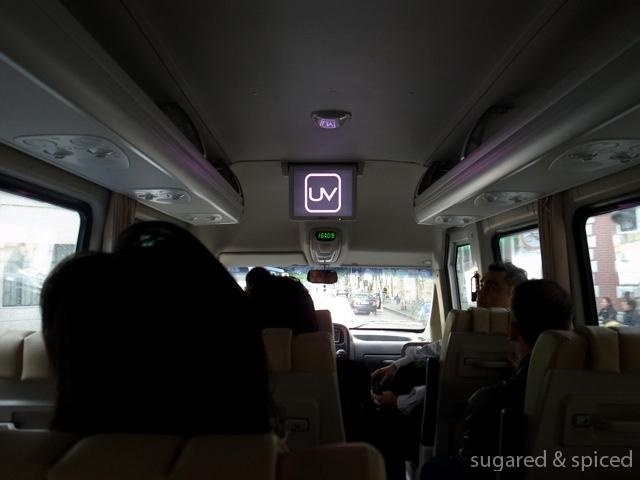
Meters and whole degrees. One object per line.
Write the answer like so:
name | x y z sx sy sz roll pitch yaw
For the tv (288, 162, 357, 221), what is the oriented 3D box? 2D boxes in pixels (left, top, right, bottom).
tv | 0.025 -0.494 4.430 0.606 0.497 0.079 -1 -14 1
